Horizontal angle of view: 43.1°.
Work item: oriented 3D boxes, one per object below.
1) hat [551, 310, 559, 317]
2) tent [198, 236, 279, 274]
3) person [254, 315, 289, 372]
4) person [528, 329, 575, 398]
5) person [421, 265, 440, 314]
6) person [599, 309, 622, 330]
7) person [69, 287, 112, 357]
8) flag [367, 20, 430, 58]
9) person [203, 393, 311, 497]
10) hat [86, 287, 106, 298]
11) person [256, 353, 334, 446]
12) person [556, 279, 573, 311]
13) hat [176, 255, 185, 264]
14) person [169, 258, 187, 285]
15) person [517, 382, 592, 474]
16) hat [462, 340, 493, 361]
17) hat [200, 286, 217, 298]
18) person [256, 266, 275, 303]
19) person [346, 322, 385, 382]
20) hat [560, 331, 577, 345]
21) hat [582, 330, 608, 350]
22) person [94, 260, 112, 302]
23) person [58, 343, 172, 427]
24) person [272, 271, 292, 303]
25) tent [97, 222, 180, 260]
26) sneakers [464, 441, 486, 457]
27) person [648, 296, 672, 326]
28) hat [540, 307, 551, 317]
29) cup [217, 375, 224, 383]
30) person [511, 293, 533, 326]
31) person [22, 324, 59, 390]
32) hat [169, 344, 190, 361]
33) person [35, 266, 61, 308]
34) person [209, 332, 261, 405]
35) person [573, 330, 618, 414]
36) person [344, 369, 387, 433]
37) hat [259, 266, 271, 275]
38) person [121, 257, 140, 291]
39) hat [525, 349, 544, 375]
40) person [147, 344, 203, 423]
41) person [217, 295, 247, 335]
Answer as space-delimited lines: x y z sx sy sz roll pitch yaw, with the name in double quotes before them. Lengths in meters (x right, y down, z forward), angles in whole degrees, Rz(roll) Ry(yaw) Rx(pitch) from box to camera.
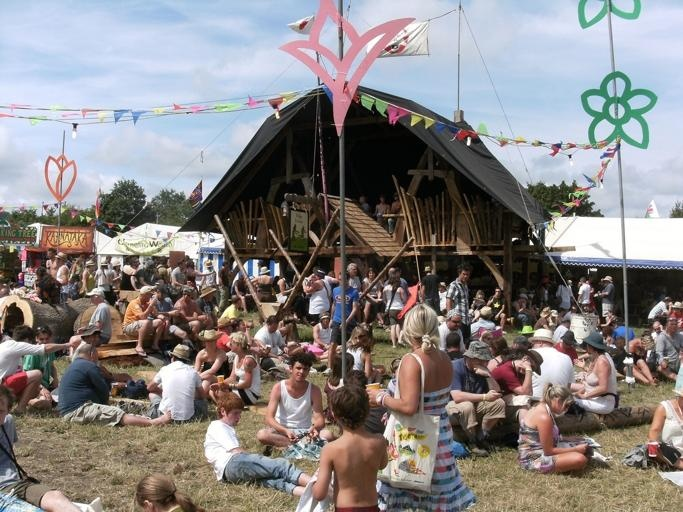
"hat" 5.402 1.472 22.095 0.319 0.127 0.361 3 4 24
"tent" -3.237 0.086 25.895 1.952 0.974 2.056 0 -1 12
"person" -1.249 1.589 15.548 0.648 1.035 0.728 -1 8 11
"person" 3.118 1.658 13.030 0.768 1.540 0.691 2 39 18
"person" 1.760 0.764 17.295 0.364 1.166 0.358 -7 12 -10
"person" 6.502 1.557 21.162 0.478 0.333 0.875 4 6 8
"person" -4.514 1.308 15.516 0.816 1.405 0.653 3 -17 -33
"flag" 1.648 -5.684 22.364 0.980 1.073 1.402 0 -2 15
"person" -1.002 2.452 11.375 1.681 1.240 0.652 1 -13 22
"hat" -4.929 0.733 17.353 0.394 0.221 0.307 6 -1 9
"person" -0.605 1.996 11.926 1.026 1.331 1.005 3 5 -5
"person" 6.333 1.137 24.704 0.468 0.841 1.607 0 -3 14
"hat" -4.353 0.099 23.374 0.109 0.253 0.191 5 -4 -27
"person" -3.683 0.365 19.546 0.345 0.624 1.214 1 -3 -11
"person" 2.946 2.404 11.814 0.935 1.262 1.067 -3 4 -17
"hat" 1.917 1.334 12.265 0.284 0.167 0.274 2 1 -3
"hat" -2.853 0.770 18.239 0.224 0.092 0.247 -30 7 -28
"person" -1.867 0.688 20.923 0.517 0.824 1.448 1 -2 -6
"person" 0.302 1.546 13.729 0.635 1.012 0.721 -1 10 -28
"hat" 3.562 1.295 13.747 0.187 0.096 0.219 14 -4 -16
"hat" 3.800 1.265 13.054 0.254 0.148 0.270 7 1 4
"person" -5.934 0.645 21.761 0.418 1.232 0.423 3 26 -11
"person" -3.383 1.962 13.189 1.725 1.159 1.169 10 -4 -31
"person" -1.481 0.734 20.892 0.498 1.041 0.772 0 3 4
"tent" -7.895 -0.562 33.538 2.259 0.978 2.379 -1 -3 8
"sneakers" 1.875 2.706 12.065 0.185 0.066 0.143 22 15 32
"person" 7.659 1.345 20.944 0.362 0.331 0.878 5 -32 -8
"hat" 4.302 1.220 18.351 0.218 0.110 0.281 4 37 26
"cup" -1.872 1.885 13.286 0.131 0.149 0.137 0 -6 0
"person" 4.470 1.386 21.502 0.353 0.945 0.488 -18 26 -33
"person" -4.644 1.616 13.525 0.519 0.961 0.679 7 6 37
"hat" -2.469 1.535 13.442 0.250 0.133 0.326 26 -10 4
"person" -5.776 0.605 17.076 0.423 0.637 1.086 2 -3 -20
"person" -1.693 1.812 13.850 0.774 1.179 0.622 -1 1 -9
"person" 3.706 1.780 13.129 0.857 1.261 0.722 -1 4 38
"person" 0.373 1.924 11.417 0.705 0.998 0.710 -2 -8 -5
"hat" -1.857 0.370 20.899 0.234 0.090 0.261 -19 0 -4
"person" -5.042 0.426 21.154 0.479 0.873 0.476 0 9 31
"hat" 2.798 1.545 12.612 0.112 0.311 0.258 -23 -8 6
"person" -2.514 1.997 13.379 0.883 1.265 0.946 4 -9 -16
"person" -2.222 1.215 17.730 0.348 0.818 0.476 19 25 37
